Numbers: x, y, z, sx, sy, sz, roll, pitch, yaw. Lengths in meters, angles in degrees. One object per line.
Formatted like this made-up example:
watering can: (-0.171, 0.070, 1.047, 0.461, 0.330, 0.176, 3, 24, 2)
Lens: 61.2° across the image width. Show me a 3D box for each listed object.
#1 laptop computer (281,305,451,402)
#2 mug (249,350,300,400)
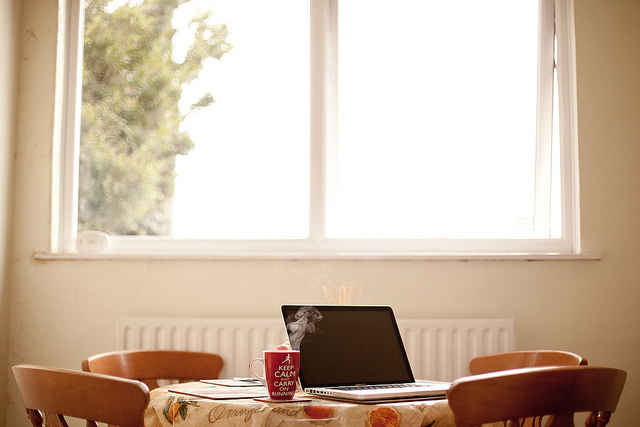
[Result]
laptop computer: (0.183, 0.451, 1.835, 0.524, 0.303, 0.472, 9, -17, -37)
mug: (-0.131, 0.518, 1.843, 0.167, 0.219, 0.193, 4, -5, -22)
